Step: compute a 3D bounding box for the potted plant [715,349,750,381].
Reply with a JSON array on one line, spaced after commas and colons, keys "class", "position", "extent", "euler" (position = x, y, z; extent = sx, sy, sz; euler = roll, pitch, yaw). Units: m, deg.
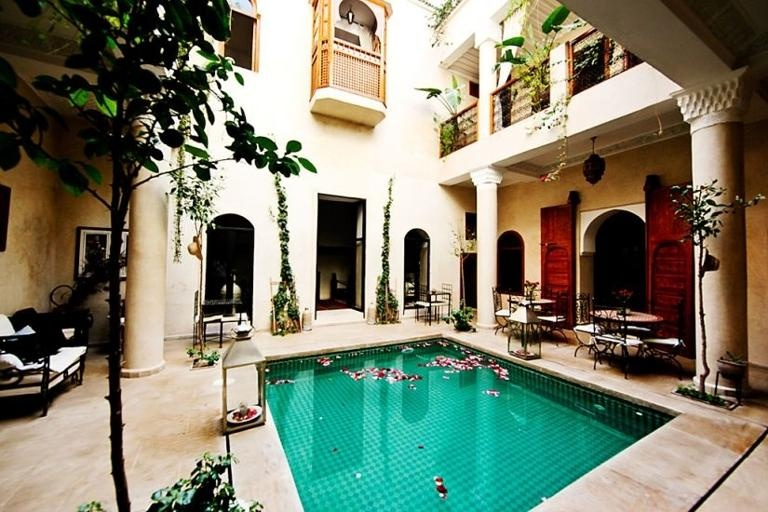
[{"class": "potted plant", "position": [6.208, 1.925, 8.618], "extent": [0.521, 0.461, 0.438], "euler": [0, 1, -38]}]

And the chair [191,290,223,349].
[{"class": "chair", "position": [-4.100, 1.469, 11.206], "extent": [0.589, 1.312, 1.387], "euler": [2, -5, -22]}]
